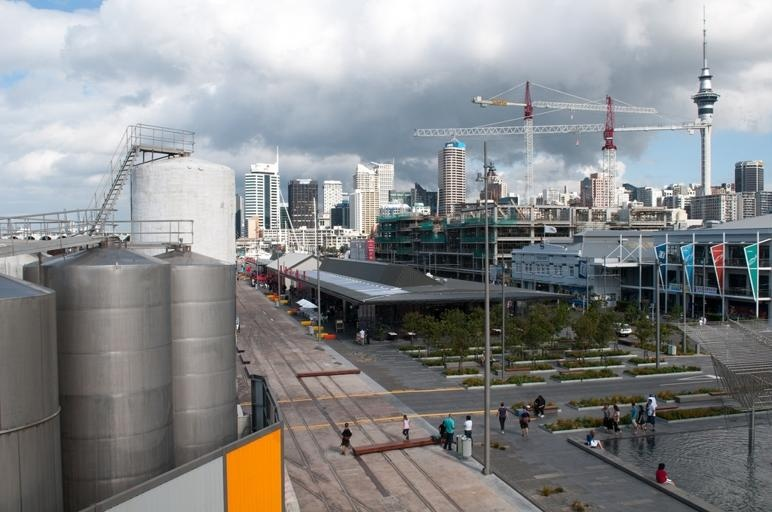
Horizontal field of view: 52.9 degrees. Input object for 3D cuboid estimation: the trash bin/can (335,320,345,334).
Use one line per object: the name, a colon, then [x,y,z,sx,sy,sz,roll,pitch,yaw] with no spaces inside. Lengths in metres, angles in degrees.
trash bin/can: [-5.149,7.819,86.759,1.204,1.603,1.186,0,-2,-6]

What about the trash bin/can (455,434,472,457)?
trash bin/can: [4.692,11.437,46.602,1.065,1.490,1.196,-1,4,-3]
